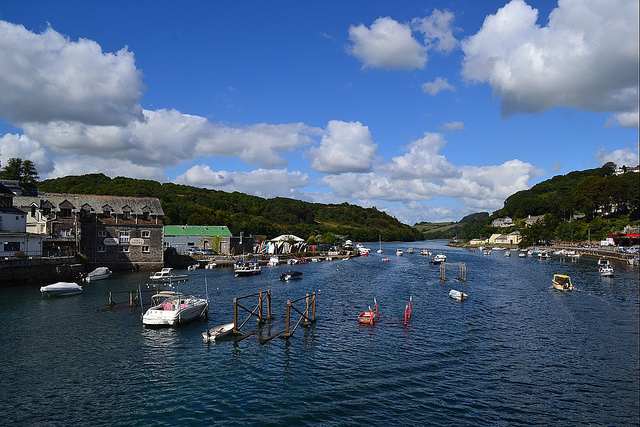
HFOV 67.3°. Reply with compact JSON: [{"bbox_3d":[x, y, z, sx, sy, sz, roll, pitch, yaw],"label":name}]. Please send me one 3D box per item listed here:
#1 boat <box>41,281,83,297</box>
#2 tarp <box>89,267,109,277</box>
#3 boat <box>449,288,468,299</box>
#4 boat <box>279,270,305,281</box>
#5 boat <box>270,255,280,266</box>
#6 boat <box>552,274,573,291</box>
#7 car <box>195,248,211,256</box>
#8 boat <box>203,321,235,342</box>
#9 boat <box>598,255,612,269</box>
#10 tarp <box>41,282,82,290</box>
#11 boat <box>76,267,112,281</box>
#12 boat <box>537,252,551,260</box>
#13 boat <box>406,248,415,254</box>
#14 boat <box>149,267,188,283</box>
[{"bbox_3d":[-48.382,13.954,89.678,4.518,1.650,2.961,1,3,-44],"label":"boat"},{"bbox_3d":[-49.223,13.207,108.047,2.955,1.010,1.573,-7,15,-24],"label":"tarp"},{"bbox_3d":[25.919,15.507,90.970,1.719,1.622,4.161,-1,13,-6],"label":"boat"},{"bbox_3d":[-6.572,15.341,115.444,2.089,1.695,5.905,5,6,40],"label":"boat"},{"bbox_3d":[-13.853,14.848,149.372,2.957,2.374,6.228,-1,13,-7],"label":"boat"},{"bbox_3d":[50.154,14.395,99.931,2.954,2.639,4.567,5,14,16],"label":"boat"},{"bbox_3d":[-35.623,11.877,145.770,3.238,1.488,1.936,-2,0,20],"label":"car"},{"bbox_3d":[-14.135,17.157,69.328,1.741,1.328,5.265,7,5,21],"label":"boat"},{"bbox_3d":[85.558,14.740,145.293,2.565,2.103,4.382,3,3,30],"label":"boat"},{"bbox_3d":[-49.177,13.808,91.758,4.545,1.567,1.064,13,0,-38],"label":"tarp"},{"bbox_3d":[-49.677,13.672,107.700,7.267,2.287,2.272,-5,6,-35],"label":"boat"},{"bbox_3d":[85.193,16.348,183.313,3.534,2.266,6.436,2,2,18],"label":"boat"},{"bbox_3d":[47.354,19.494,252.104,3.463,1.589,4.876,-2,-6,3],"label":"boat"},{"bbox_3d":[-33.407,14.793,107.437,7.308,2.543,3.692,0,0,-27],"label":"boat"}]
